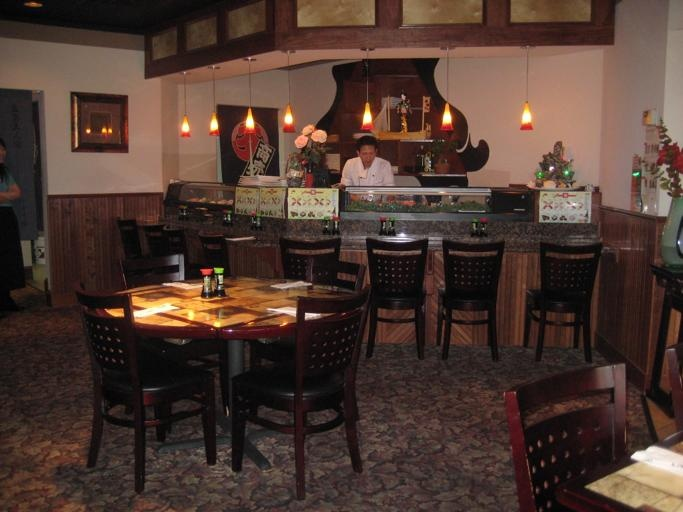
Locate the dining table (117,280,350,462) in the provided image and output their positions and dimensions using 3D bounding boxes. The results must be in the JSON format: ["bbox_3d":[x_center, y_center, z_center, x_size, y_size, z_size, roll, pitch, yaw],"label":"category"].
[{"bbox_3d":[-0.687,0.743,3.759,1.438,0.950,1.461,2,5,-23],"label":"dining table"}]

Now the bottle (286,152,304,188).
[{"bbox_3d":[-0.505,-0.956,6.165,0.178,0.364,0.290,-4,10,-20],"label":"bottle"}]

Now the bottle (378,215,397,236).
[{"bbox_3d":[0.463,-0.305,5.679,0.160,0.186,0.163,0,9,6],"label":"bottle"}]

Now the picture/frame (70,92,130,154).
[{"bbox_3d":[-3.302,-1.831,7.633,0.811,0.854,0.083,-5,9,-36],"label":"picture/frame"}]

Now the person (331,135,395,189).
[{"bbox_3d":[0.299,-1.006,7.017,0.617,0.945,0.541,0,29,-1],"label":"person"}]

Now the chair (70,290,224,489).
[{"bbox_3d":[-1.125,0.710,3.299,0.636,1.099,0.703,1,5,24],"label":"chair"}]

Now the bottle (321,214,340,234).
[{"bbox_3d":[-0.112,-0.347,5.990,0.175,0.323,0.182,1,8,0],"label":"bottle"}]

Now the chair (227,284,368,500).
[{"bbox_3d":[-0.245,0.718,3.293,0.619,1.101,0.728,-1,5,-40],"label":"chair"}]

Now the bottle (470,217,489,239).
[{"bbox_3d":[1.379,-0.289,5.639,0.170,0.192,0.179,0,13,-3],"label":"bottle"}]

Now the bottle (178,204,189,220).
[{"bbox_3d":[-2.090,-0.599,7.500,0.078,0.201,0.157,-8,13,-40],"label":"bottle"}]
